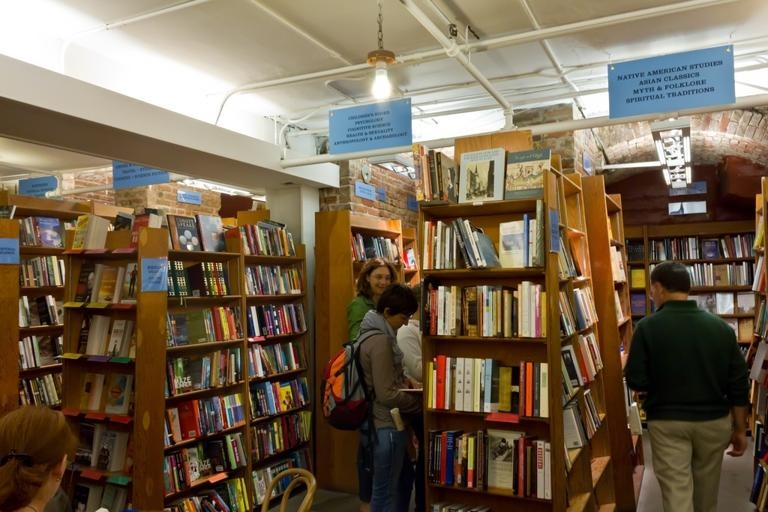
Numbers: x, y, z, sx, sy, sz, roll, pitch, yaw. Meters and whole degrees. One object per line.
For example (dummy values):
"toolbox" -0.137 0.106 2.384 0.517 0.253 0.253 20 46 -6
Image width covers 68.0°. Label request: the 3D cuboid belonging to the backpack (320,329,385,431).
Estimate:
"backpack" -0.294 1.019 4.934 0.470 0.838 0.610 7 -2 -11
